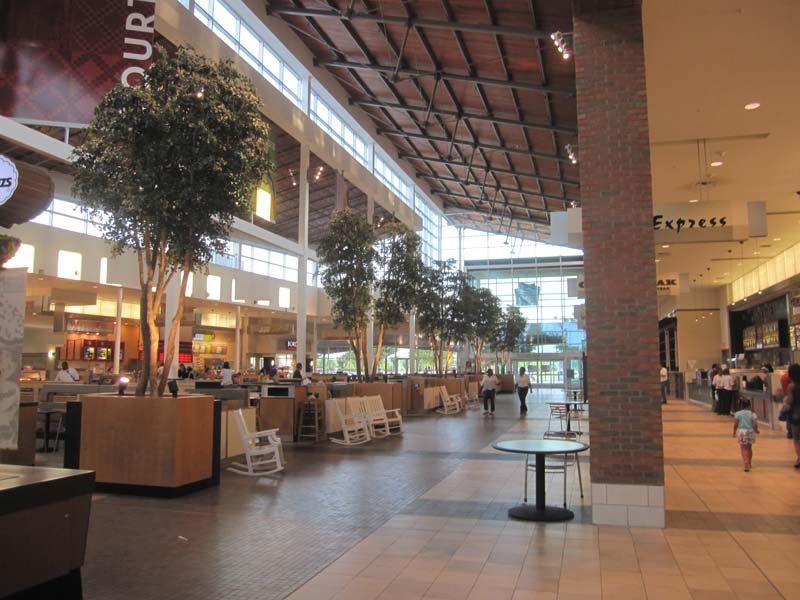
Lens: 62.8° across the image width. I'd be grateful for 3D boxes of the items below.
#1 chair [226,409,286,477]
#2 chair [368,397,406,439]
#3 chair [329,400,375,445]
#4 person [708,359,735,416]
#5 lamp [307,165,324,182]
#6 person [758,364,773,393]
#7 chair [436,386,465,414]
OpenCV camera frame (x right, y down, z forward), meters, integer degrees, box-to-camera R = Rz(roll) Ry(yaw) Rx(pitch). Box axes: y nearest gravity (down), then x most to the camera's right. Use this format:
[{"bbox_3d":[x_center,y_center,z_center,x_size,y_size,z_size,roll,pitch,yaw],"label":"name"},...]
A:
[{"bbox_3d":[-2.455,2.484,11.319,1.113,1.387,1.010,0,-4,-1],"label":"chair"},{"bbox_3d":[-0.421,2.815,15.662,0.913,1.240,0.817,-3,-6,21],"label":"chair"},{"bbox_3d":[-1.024,2.704,14.630,0.774,1.006,0.885,-9,4,-32],"label":"chair"},{"bbox_3d":[10.201,2.853,20.677,0.615,1.556,1.570,-5,-10,24],"label":"person"},{"bbox_3d":[-3.706,-5.573,29.081,0.686,0.303,2.173,0,-10,-8],"label":"lamp"},{"bbox_3d":[10.032,2.162,17.961,0.265,0.889,2.626,-6,-11,28],"label":"person"},{"bbox_3d":[1.808,3.737,23.751,0.719,0.998,1.473,-1,-5,11],"label":"chair"}]
